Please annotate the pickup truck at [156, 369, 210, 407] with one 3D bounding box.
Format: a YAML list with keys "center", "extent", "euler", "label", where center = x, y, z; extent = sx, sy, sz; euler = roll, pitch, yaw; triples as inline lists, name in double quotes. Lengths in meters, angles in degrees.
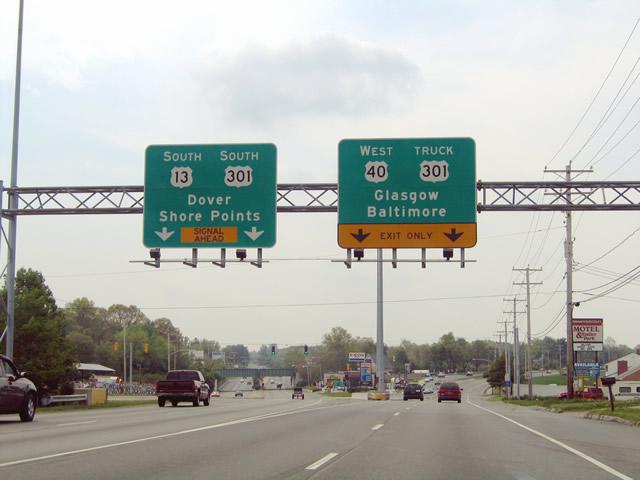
- center: [-7.777, 8.625, 49.817]
  extent: [2.512, 2.365, 3.938]
  euler: [0, -15, -2]
  label: "pickup truck"
